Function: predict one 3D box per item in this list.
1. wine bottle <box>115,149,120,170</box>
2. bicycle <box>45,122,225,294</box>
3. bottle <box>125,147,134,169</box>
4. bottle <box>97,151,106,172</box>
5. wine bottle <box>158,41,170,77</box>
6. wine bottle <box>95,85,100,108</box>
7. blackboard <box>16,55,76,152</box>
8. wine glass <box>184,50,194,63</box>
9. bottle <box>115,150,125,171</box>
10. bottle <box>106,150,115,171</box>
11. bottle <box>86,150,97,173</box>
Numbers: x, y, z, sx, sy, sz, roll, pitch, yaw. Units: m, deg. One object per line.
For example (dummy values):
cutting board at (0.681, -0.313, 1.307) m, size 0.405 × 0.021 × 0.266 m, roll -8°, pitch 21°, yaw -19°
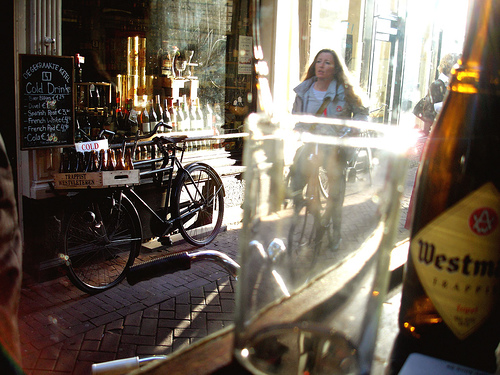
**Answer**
wine bottle at (-1.414, -0.300, 4.325) m, size 0.036 × 0.165 × 0.336 m, roll -1°, pitch 14°, yaw -17°
bicycle at (-1.493, 0.261, 5.255) m, size 1.058 × 1.722 × 2.398 m, roll 5°, pitch 8°, yaw 37°
bottle at (-1.311, -0.317, 4.398) m, size 0.080 × 0.190 × 0.274 m, roll -1°, pitch 13°, yaw -17°
bottle at (-1.534, -0.277, 4.195) m, size 0.085 × 0.165 × 0.225 m, roll -2°, pitch 14°, yaw -21°
wine bottle at (-1.201, -1.805, 5.708) m, size 0.091 × 0.491 × 0.176 m, roll 10°, pitch 14°, yaw 33°
wine bottle at (-1.917, -1.140, 5.111) m, size 0.056 × 0.250 × 0.052 m, roll 2°, pitch 11°, yaw 0°
blackboard at (-2.110, -0.894, 4.243) m, size 0.529 × 0.943 × 0.223 m, roll -4°, pitch 13°, yaw -29°
wine glass at (-0.918, -1.959, 6.067) m, size 0.145 × 0.166 × 0.137 m, roll -3°, pitch 9°, yaw -25°
bottle at (-1.378, -0.290, 4.305) m, size 0.092 × 0.170 × 0.321 m, roll -1°, pitch 14°, yaw -18°
bottle at (-1.451, -0.284, 4.227) m, size 0.081 × 0.174 × 0.192 m, roll -2°, pitch 13°, yaw -19°
bottle at (-1.624, -0.270, 4.148) m, size 0.088 × 0.186 × 0.193 m, roll -2°, pitch 13°, yaw -23°
